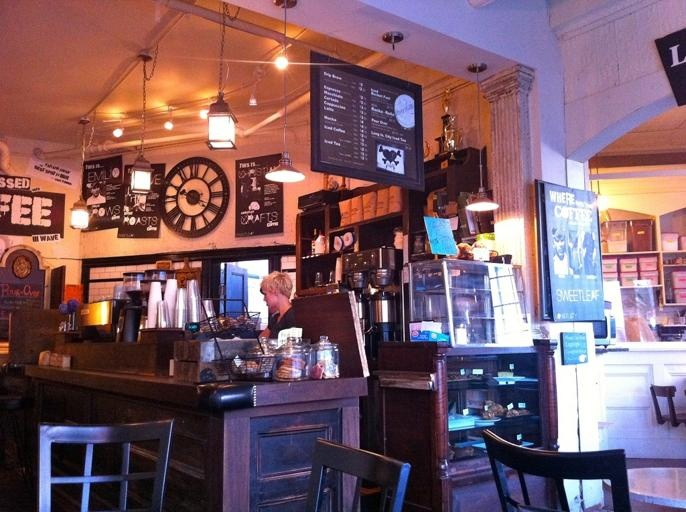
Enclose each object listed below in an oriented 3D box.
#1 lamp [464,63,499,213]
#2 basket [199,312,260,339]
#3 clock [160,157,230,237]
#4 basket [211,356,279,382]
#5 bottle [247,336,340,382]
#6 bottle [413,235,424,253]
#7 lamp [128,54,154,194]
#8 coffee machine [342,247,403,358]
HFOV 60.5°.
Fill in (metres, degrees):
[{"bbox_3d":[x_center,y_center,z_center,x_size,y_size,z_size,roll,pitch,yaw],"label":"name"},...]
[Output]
[{"bbox_3d":[1.244,-1.068,5.349,0.334,1.285,0.334,-16,16,-43],"label":"lamp"},{"bbox_3d":[-0.706,0.437,3.617,0.243,0.083,0.196,-3,-3,16],"label":"basket"},{"bbox_3d":[-2.207,-0.878,8.804,1.154,1.220,0.050,-4,-7,19],"label":"clock"},{"bbox_3d":[-0.561,0.660,3.456,0.208,0.093,0.209,-8,-11,34],"label":"basket"},{"bbox_3d":[-0.263,0.606,3.491,0.454,0.198,0.243,4,-9,-27],"label":"bottle"},{"bbox_3d":[0.760,-0.123,5.864,0.099,0.196,0.195,-2,-6,-2],"label":"bottle"},{"bbox_3d":[-2.121,-1.425,6.214,0.235,1.486,0.286,6,2,33],"label":"lamp"},{"bbox_3d":[0.321,0.524,5.901,0.565,1.151,0.645,-3,-1,-35],"label":"coffee machine"}]
